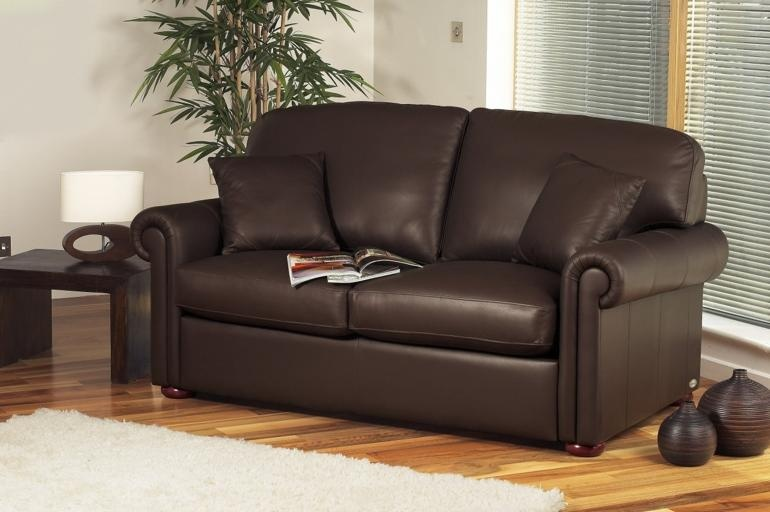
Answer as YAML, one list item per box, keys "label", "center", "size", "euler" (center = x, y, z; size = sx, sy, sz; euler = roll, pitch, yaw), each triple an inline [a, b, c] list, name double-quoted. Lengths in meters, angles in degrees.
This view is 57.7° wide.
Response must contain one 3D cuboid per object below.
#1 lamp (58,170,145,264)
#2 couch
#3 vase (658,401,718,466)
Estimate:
- label: "lamp"
  center: [-1.555, -0.194, 3.855]
  size: [0.449, 0.417, 0.374]
  euler: [1, -2, -18]
- label: "couch"
  center: [0.143, -0.026, 3.538]
  size: [2.613, 1.238, 1.324]
  euler: [7, 20, 27]
- label: "vase"
  center: [1.244, 0.702, 2.874]
  size: [0.318, 0.227, 0.294]
  euler: [-3, 9, 12]
